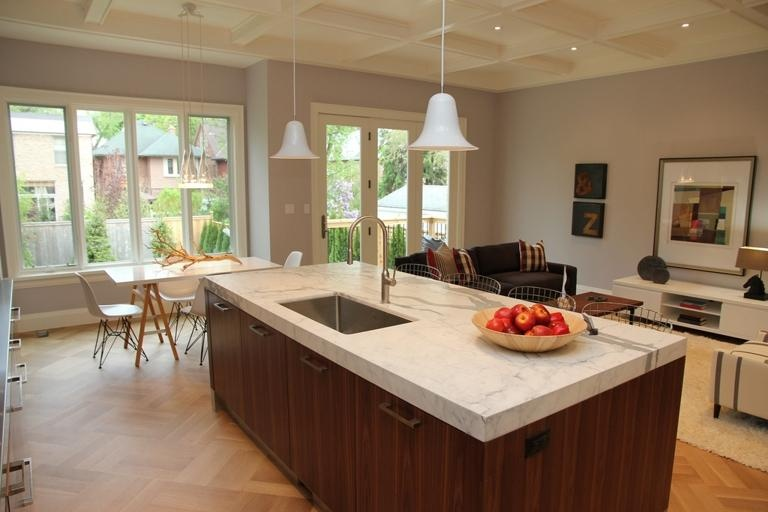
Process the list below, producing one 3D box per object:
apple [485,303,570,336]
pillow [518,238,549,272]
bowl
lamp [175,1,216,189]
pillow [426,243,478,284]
[{"bbox_3d":[0.855,0.388,3.005,0.266,0.096,0.262,1,-2,-23],"label":"apple"},{"bbox_3d":[2.172,0.011,7.366,0.546,0.529,0.201,0,-12,-13],"label":"pillow"},{"bbox_3d":[0.938,0.482,3.187,0.635,0.167,0.651,-2,8,0],"label":"bowl"},{"bbox_3d":[-2.309,-1.807,6.108,0.429,2.019,1.785,-5,9,-20],"label":"lamp"},{"bbox_3d":[0.866,0.134,6.345,0.552,0.506,0.163,9,-34,-39],"label":"pillow"}]
